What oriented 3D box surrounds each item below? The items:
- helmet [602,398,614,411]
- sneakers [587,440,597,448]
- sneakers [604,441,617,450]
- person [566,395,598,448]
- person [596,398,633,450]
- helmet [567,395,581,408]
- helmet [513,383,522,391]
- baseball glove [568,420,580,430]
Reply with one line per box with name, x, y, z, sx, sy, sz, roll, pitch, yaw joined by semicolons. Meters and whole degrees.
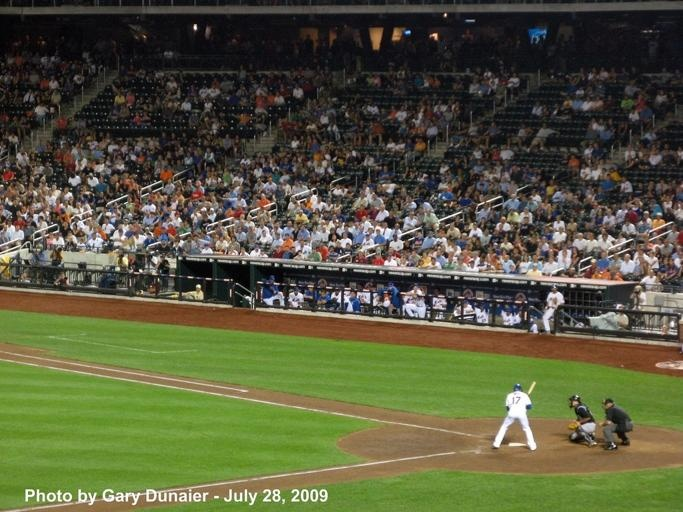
helmet;9.152;5.030;61.818;0.375;0.354;0.296;-25;26;-15
sneakers;8.619;6.347;61.850;0.196;0.202;0.425;-2;-4;40
sneakers;9.158;6.407;61.535;0.419;0.292;0.180;2;4;15
person;8.181;5.599;62.095;1.183;1.663;1.162;-1;-4;-32
person;9.343;5.710;61.787;0.996;1.678;0.629;1;-3;-3
helmet;7.979;4.944;61.977;0.337;0.410;0.434;4;1;-29
helmet;5.985;4.424;61.324;0.208;0.222;0.286;1;-5;-3
baseball glove;8.012;5.740;61.892;0.307;0.128;0.340;1;8;44
